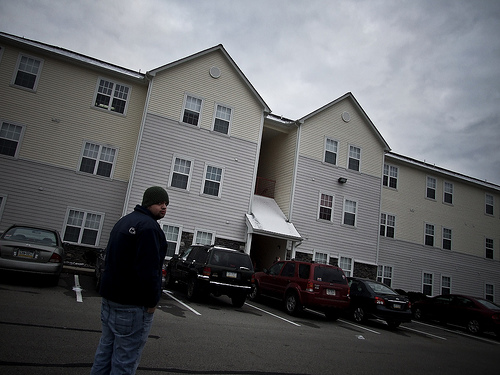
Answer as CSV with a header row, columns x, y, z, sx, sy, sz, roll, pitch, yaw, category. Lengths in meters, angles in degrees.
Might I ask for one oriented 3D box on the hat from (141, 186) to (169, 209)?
x,y,z,sx,sy,sz,roll,pitch,yaw,category
-1.292,0.139,5.231,0.357,0.264,0.271,-5,-7,5,hat
